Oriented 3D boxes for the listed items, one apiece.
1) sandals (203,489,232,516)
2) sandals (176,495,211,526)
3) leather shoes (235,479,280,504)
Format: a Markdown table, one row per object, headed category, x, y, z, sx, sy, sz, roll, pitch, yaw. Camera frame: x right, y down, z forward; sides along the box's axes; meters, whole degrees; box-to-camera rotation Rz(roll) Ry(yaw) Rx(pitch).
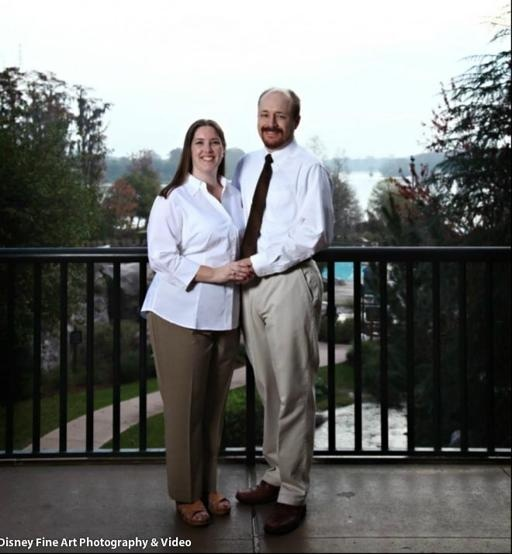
| category | x | y | z | sx | sy | sz | roll | pitch | yaw |
| --- | --- | --- | --- | --- | --- | --- | --- | --- | --- |
| sandals | -0.141 | 0.898 | 2.657 | 0.047 | 0.061 | 0.131 | -3 | -8 | -24 |
| sandals | -0.245 | 0.905 | 2.626 | 0.126 | 0.080 | 0.156 | -2 | 11 | -9 |
| leather shoes | 0.015 | 0.889 | 2.791 | 0.198 | 0.110 | 0.077 | -4 | 10 | 5 |
